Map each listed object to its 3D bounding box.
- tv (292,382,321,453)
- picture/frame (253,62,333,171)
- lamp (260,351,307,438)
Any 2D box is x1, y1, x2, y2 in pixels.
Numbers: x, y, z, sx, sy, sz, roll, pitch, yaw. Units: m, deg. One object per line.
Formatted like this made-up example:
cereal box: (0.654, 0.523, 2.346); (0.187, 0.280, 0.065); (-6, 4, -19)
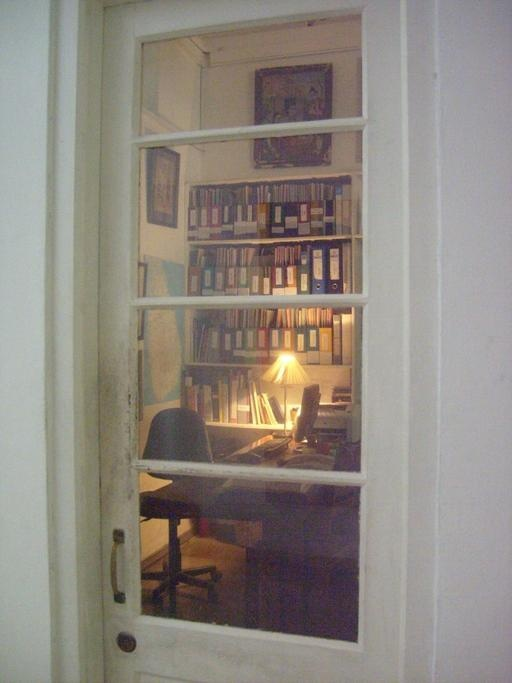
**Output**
tv: (0.130, 0.175, 1.809); (0.083, 0.166, 0.056); (8, -20, -33)
picture/frame: (0.087, -0.536, 1.826); (0.189, 0.281, 0.011); (-1, -15, 10)
lamp: (0.071, 0.133, 1.857); (0.120, 0.215, 0.136); (-1, 14, -10)
